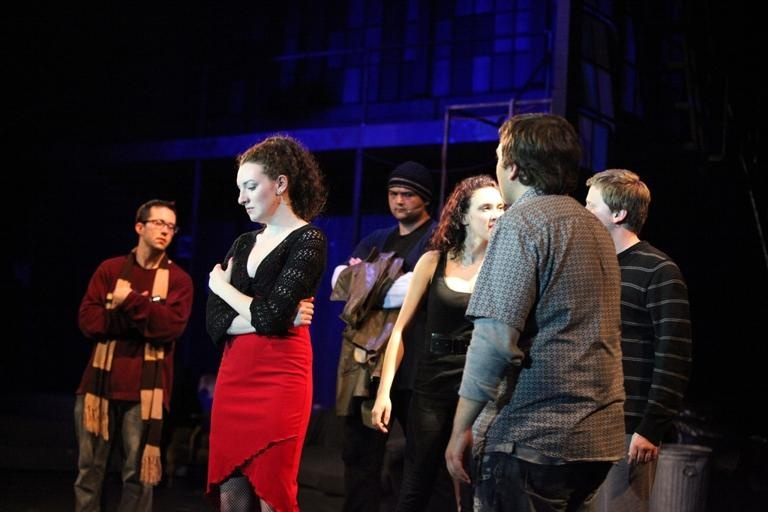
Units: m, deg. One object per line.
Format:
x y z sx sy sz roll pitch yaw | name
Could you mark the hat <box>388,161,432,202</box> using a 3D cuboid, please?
0.167 -0.520 4.859 0.276 0.216 0.262 15 -6 -35 | hat
